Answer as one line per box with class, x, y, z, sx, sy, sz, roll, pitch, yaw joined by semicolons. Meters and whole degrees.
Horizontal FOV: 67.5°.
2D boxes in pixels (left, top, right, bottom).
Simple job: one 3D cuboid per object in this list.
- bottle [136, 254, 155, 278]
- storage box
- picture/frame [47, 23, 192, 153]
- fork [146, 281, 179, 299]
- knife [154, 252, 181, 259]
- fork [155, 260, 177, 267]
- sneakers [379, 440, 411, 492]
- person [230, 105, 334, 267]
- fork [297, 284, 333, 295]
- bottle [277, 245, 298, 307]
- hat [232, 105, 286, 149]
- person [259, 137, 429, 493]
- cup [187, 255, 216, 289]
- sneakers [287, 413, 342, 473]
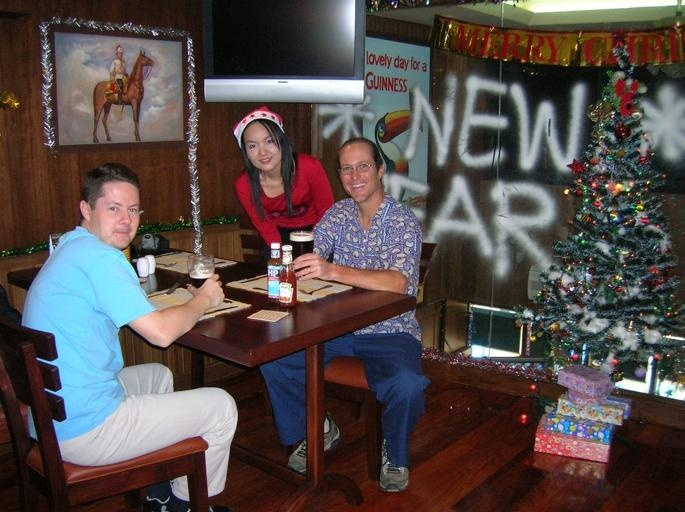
bottle;-0.959;0.055;2.539;0.119;0.105;0.071;2;3;26
storage box;1.290;0.855;2.751;0.380;0.326;0.541;5;10;34
picture/frame;-1.444;-1.102;3.406;0.014;0.790;1.111;21;25;24
fork;-0.799;0.152;2.269;0.127;0.021;0.017;-16;51;-9
knife;-1.072;0.003;3.052;0.038;0.046;0.343;-9;4;-45
fork;-0.947;0.041;2.740;0.109;0.016;0.014;9;34;32
sneakers;0.244;1.012;2.544;0.122;0.143;0.328;3;14;2
person;-0.355;-0.399;2.941;0.509;0.854;0.535;-15;23;8
fork;-0.119;0.146;2.272;0.150;0.025;0.057;0;24;-42
bottle;-0.231;0.066;2.100;0.075;0.259;0.178;-2;14;-5
hat;-0.481;-0.727;2.894;0.257;0.225;0.288;-3;14;-11
person;0.057;0.278;2.565;0.902;1.628;0.831;4;11;27
cup;-0.672;0.069;2.419;0.155;0.156;0.153;0;1;0
sneakers;-0.193;1.018;2.725;0.117;0.152;0.336;23;8;12
